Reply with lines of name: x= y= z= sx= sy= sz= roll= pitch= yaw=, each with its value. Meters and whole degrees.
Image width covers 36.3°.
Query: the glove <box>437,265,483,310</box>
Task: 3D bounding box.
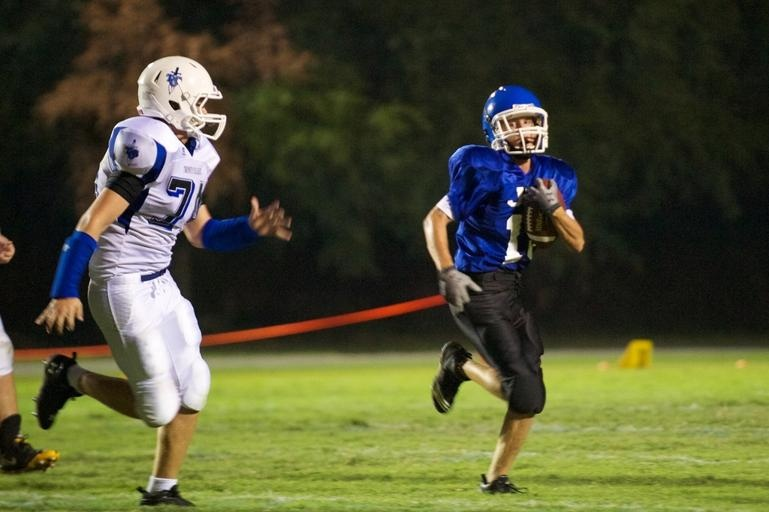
glove: x=0.682 y=0.253 z=10.287 sx=0.384 sy=0.492 sz=0.263 roll=-4 pitch=-38 yaw=6

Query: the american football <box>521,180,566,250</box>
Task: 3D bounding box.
american football: x=1.382 y=-0.374 z=10.232 sx=0.303 sy=0.557 sz=0.327 roll=1 pitch=-1 yaw=0
